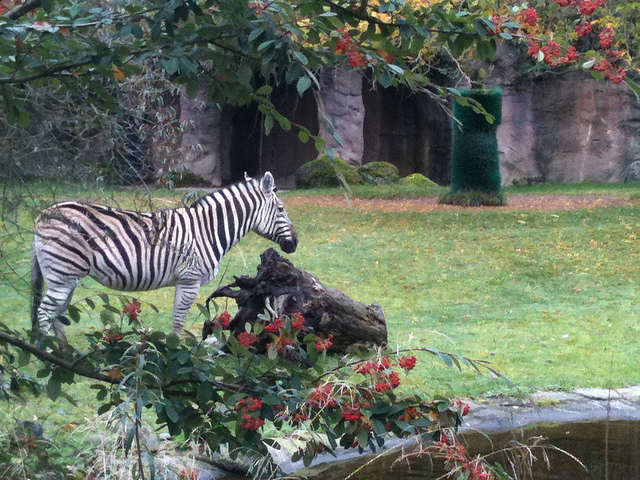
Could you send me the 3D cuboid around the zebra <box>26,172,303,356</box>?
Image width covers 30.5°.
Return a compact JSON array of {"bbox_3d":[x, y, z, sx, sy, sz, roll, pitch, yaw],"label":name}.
[{"bbox_3d":[-1.814,0.245,11.504,1.884,1.804,3.546,1,3,25],"label":"zebra"}]
